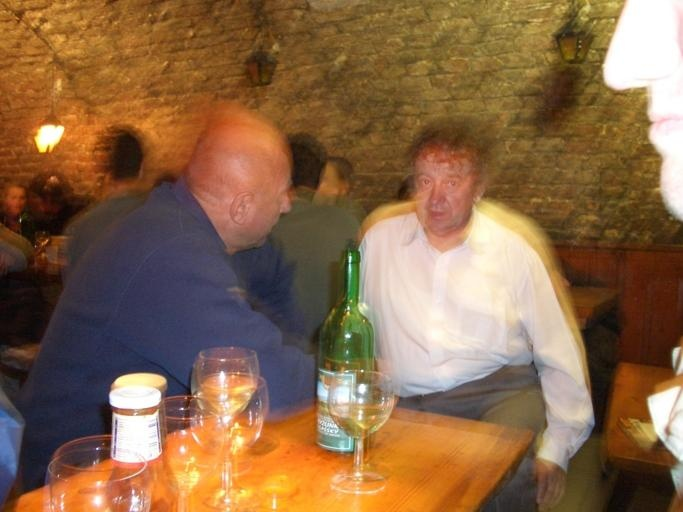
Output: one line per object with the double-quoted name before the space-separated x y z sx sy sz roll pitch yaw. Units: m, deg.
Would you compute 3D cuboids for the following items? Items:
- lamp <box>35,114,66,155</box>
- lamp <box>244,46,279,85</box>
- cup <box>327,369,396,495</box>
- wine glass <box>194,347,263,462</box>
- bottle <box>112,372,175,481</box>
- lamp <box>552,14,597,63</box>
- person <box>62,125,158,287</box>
"lamp" -3.405 -1.446 6.622 0.252 0.248 0.389 -27 -5 -38
"lamp" -0.838 -1.899 5.777 0.367 0.308 0.414 -8 13 -4
"cup" 0.042 0.364 1.263 0.145 0.214 0.256 3 13 5
"wine glass" -0.283 0.322 1.301 0.195 0.330 0.187 2 -2 -17
"bottle" -0.433 0.307 1.139 0.148 0.217 0.142 9 24 -4
"lamp" 1.893 -1.771 4.596 0.304 0.352 0.141 6 14 17
"person" -1.076 -0.178 2.843 0.317 0.791 0.304 3 -14 -22
